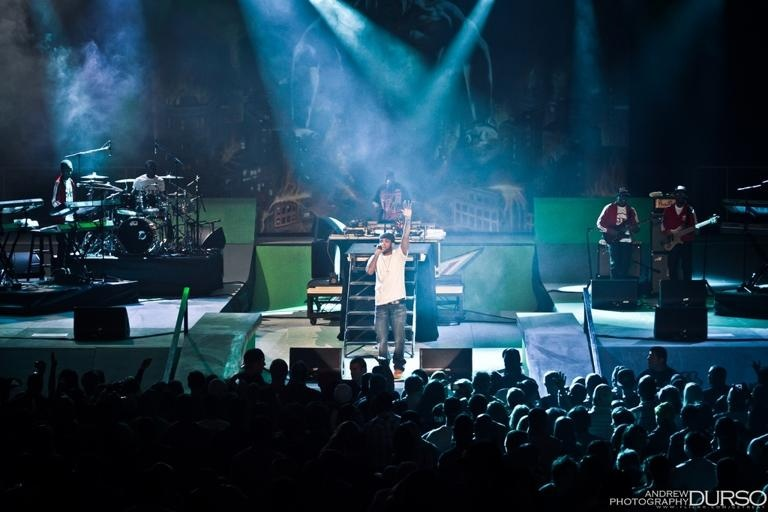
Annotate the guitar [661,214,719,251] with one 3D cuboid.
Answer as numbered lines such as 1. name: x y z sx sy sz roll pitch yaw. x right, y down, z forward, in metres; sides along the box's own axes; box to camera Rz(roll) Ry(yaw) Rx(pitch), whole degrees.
1. guitar: 5.804 -0.395 11.530 0.853 0.605 0.960 -1 -2 17

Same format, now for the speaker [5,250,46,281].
1. speaker: -7.435 0.230 12.565 0.620 0.777 0.651 0 -2 -32

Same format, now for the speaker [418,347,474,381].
1. speaker: 0.824 1.602 8.085 0.717 0.465 0.381 -1 -2 8

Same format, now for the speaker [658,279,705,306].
1. speaker: 4.289 0.543 8.690 0.617 0.377 0.286 -1 -3 23

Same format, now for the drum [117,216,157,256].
1. drum: -5.027 -0.398 12.372 0.822 0.807 0.450 0 3 12

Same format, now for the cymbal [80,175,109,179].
1. cymbal: -6.940 -1.874 14.462 0.287 0.064 0.281 0 11 -4

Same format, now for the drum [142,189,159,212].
1. drum: -4.984 -1.186 12.990 0.385 0.451 0.695 0 -2 -21

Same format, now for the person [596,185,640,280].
1. person: 4.623 -0.428 11.950 0.741 1.768 0.547 -1 -3 13

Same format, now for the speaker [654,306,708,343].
1. speaker: 4.348 0.983 8.893 0.908 0.590 0.482 0 1 8

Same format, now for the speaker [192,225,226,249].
1. speaker: -3.880 -0.339 13.622 0.508 0.228 0.409 -6 15 22

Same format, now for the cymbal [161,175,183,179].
1. cymbal: -4.942 -1.814 14.038 0.293 0.064 0.287 -3 9 -10
